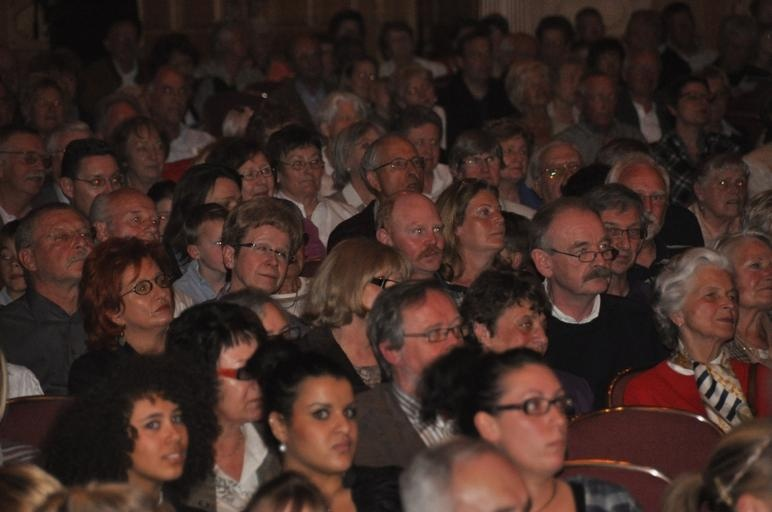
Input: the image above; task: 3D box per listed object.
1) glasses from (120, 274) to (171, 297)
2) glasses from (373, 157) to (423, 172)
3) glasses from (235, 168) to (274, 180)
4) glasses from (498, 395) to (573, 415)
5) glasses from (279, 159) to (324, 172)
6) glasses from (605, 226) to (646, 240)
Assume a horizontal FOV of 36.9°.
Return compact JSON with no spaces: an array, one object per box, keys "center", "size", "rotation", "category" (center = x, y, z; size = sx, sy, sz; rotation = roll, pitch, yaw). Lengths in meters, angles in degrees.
[{"center":[-1.851,0.215,8.964],"size":[0.362,0.181,0.112],"rotation":[1,7,-40],"category":"glasses"},{"center":[0.091,-0.877,11.029],"size":[0.234,0.054,0.225],"rotation":[-1,-15,-42],"category":"glasses"},{"center":[-1.220,-0.790,10.918],"size":[0.104,0.129,0.339],"rotation":[9,6,41],"category":"glasses"},{"center":[0.943,0.970,7.571],"size":[0.253,0.060,0.219],"rotation":[-11,-10,38],"category":"glasses"},{"center":[-0.835,-0.909,11.419],"size":[0.429,0.143,0.139],"rotation":[3,5,-14],"category":"glasses"},{"center":[2.058,-0.206,9.977],"size":[0.366,0.101,0.095],"rotation":[2,5,-21],"category":"glasses"}]
